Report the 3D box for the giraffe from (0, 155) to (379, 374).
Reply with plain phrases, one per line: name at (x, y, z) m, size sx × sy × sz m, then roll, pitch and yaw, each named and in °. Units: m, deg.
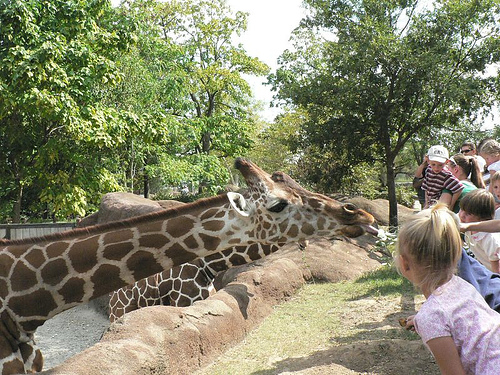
giraffe at (0.056, 0.833, 8.889) m, size 7.685 × 3.987 × 1.949 m, roll 1°, pitch 11°, yaw -14°
